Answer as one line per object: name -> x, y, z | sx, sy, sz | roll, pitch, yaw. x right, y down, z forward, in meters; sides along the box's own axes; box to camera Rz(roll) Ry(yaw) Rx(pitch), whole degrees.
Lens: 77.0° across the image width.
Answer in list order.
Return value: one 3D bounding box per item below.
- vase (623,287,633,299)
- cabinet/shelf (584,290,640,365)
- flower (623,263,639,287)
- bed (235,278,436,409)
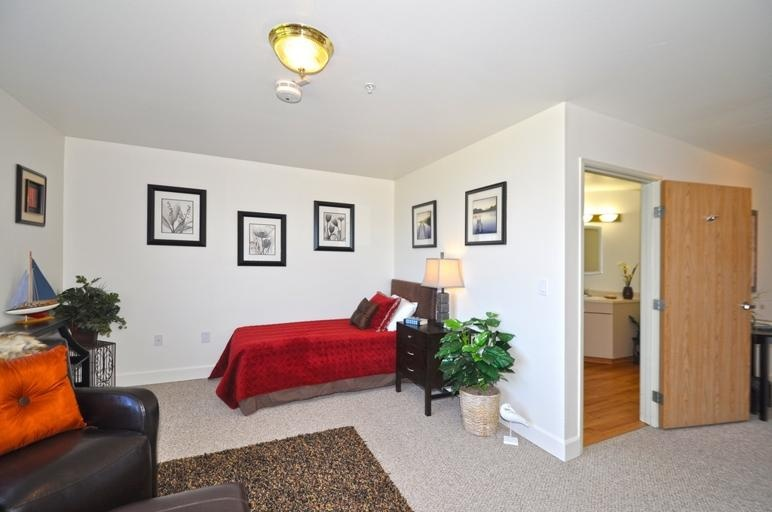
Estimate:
vase -> 3.506, 0.529, 7.057 | 0.168, 0.171, 0.142 | -2, -2, 41
cabinet/shelf -> 3.030, 1.023, 7.134 | 0.754, 1.026, 1.013 | 4, -6, -35
flower -> 3.647, 0.276, 7.292 | 0.251, 0.297, 0.287 | 0, -2, 9
bed -> -0.861, 0.909, 5.938 | 2.051, 1.113, 1.332 | -1, 2, -23
